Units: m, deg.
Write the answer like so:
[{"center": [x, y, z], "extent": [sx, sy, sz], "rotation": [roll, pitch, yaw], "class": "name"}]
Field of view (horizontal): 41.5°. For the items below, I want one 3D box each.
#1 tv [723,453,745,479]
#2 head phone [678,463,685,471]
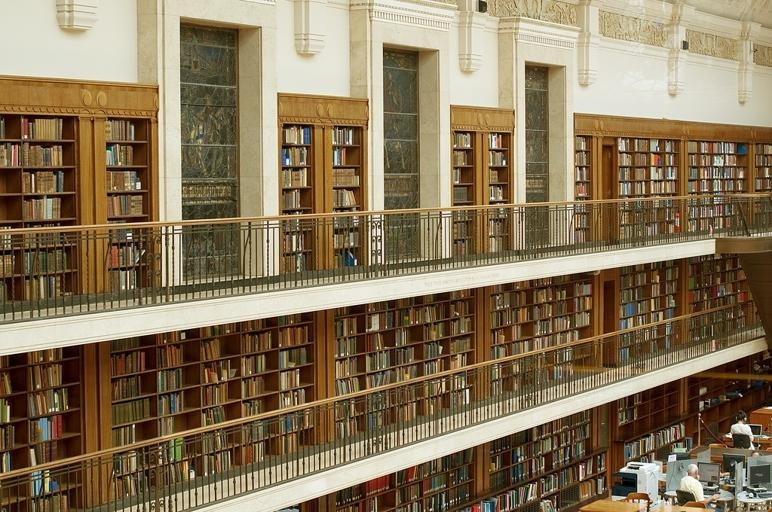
[{"center": [5.679, 3.471, 16.771], "extent": [0.276, 0.380, 0.106], "rotation": [2, 1, 12], "class": "tv"}, {"center": [4.822, 3.476, 16.760], "extent": [0.095, 0.118, 0.070], "rotation": [-1, -2, 43], "class": "head phone"}]
